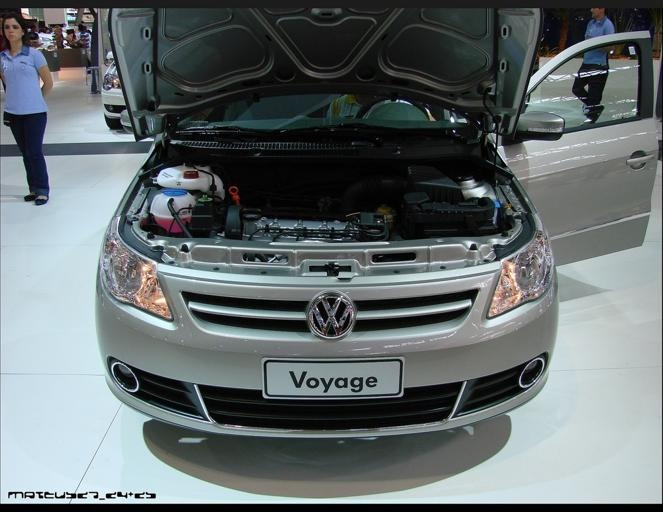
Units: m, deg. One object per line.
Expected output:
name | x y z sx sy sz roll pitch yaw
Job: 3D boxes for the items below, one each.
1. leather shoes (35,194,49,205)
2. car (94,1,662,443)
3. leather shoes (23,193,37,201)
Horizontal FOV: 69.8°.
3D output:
leather shoes | -2.484 -0.475 4.067 0.083 0.050 0.136 -4 21 -17
car | 0.044 -0.187 2.150 1.685 1.014 1.993 -1 32 2
leather shoes | -2.648 -0.518 4.173 0.076 0.059 0.143 -1 7 -27
